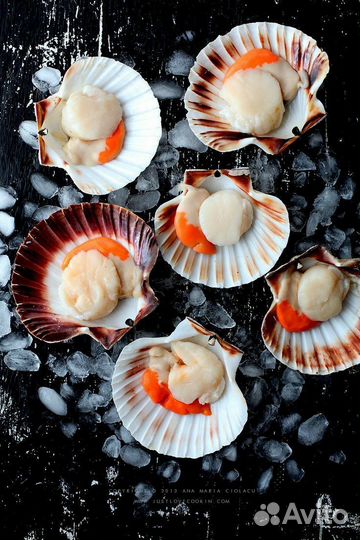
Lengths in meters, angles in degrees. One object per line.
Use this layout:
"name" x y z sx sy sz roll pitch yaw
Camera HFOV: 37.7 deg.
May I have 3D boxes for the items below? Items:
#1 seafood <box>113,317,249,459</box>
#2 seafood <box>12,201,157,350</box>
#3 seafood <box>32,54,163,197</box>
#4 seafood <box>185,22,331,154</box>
"seafood" -0.005 0.320 1.406 0.348 0.358 0.228 -5 44 -7
"seafood" -0.249 0.021 1.435 0.415 0.112 0.415 -14 66 -19
"seafood" -0.232 -0.402 1.512 0.130 0.377 0.404 36 57 -11
"seafood" 0.224 -0.543 1.590 0.385 0.111 0.372 -42 83 7
